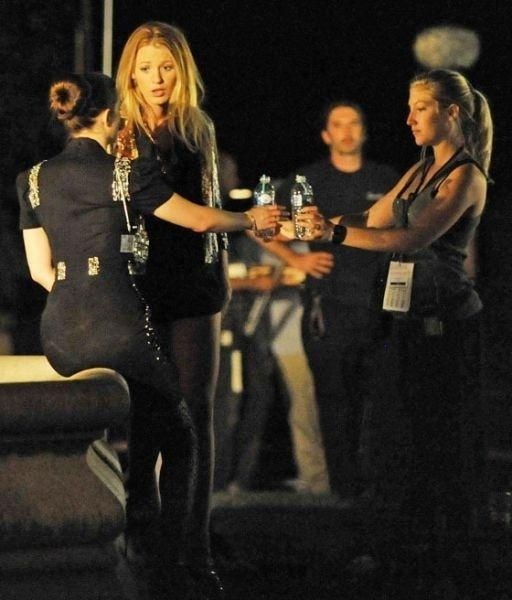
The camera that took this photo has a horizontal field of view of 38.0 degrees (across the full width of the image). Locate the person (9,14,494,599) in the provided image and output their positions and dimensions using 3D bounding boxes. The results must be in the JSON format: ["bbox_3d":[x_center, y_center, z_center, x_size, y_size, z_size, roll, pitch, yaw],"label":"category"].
[{"bbox_3d":[0.013,0.006,2.028,1.226,1.538,0.660,3,14,11],"label":"person"}]
